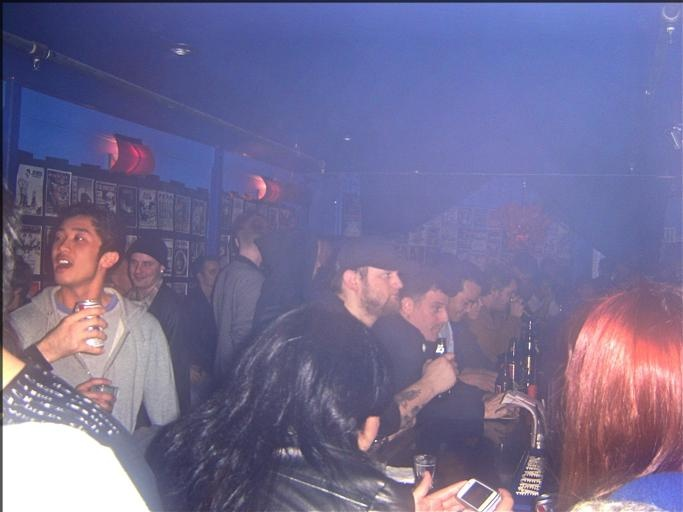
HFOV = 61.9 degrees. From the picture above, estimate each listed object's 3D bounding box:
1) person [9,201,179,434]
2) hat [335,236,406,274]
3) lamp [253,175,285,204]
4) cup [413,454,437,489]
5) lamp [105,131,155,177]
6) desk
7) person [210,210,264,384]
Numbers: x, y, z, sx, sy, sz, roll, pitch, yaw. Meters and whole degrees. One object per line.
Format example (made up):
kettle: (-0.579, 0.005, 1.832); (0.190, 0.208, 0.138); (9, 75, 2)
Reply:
person: (-1.037, 0.271, 2.445); (0.703, 1.040, 0.165); (5, -1, -21)
hat: (0.106, -0.003, 2.445); (0.242, 0.142, 0.069); (-5, -36, 7)
lamp: (-0.310, -0.282, 2.438); (0.076, 0.070, 0.112); (33, -6, -20)
cup: (0.344, 0.953, 2.477); (0.086, 0.141, 0.093); (-5, -6, 0)
lamp: (-0.882, -0.420, 2.373); (0.169, 0.144, 0.131); (22, 19, 29)
desk: (0.593, 0.858, 2.662); (0.563, 0.721, 0.459); (1, -13, 9)
person: (-0.447, 0.176, 2.444); (0.204, 0.733, 0.102); (5, -1, -7)
